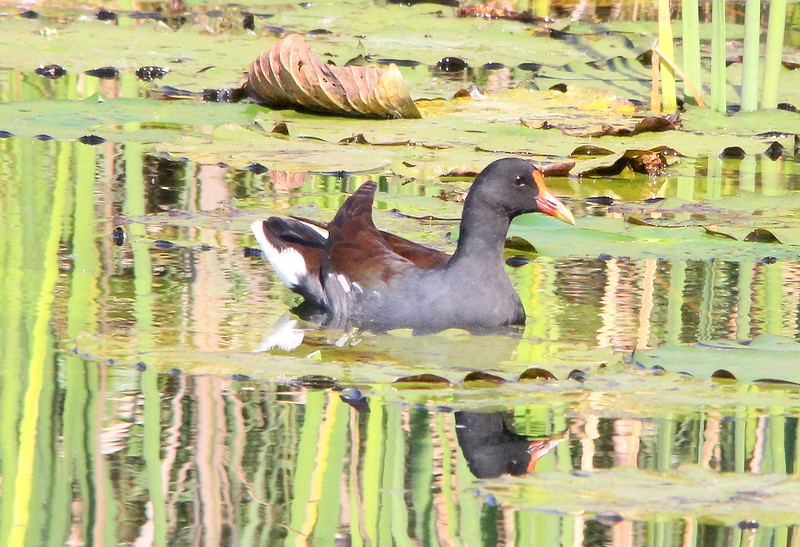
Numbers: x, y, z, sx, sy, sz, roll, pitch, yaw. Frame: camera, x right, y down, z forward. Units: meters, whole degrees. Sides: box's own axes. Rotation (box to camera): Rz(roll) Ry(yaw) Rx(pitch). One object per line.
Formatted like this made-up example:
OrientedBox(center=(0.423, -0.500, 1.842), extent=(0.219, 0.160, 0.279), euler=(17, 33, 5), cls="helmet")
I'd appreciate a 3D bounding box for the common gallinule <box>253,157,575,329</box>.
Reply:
OrientedBox(center=(0.138, -0.173, 5.756), extent=(1.081, 1.007, 2.529), euler=(-9, 12, -37), cls="common gallinule")
